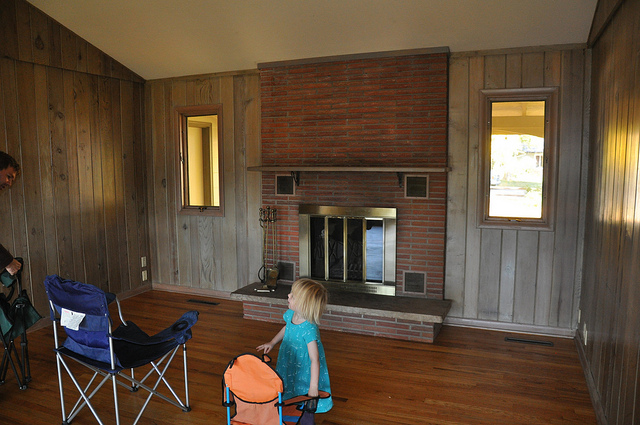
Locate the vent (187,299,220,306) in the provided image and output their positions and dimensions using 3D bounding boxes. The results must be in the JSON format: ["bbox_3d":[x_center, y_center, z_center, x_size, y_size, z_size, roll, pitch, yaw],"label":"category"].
[{"bbox_3d":[-1.550,1.210,6.179,0.455,0.043,0.136,2,0,22],"label":"vent"}]

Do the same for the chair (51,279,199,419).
[{"bbox_3d":[-1.790,1.292,4.191,1.165,1.106,0.744,3,6,28],"label":"chair"}]

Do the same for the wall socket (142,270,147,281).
[{"bbox_3d":[-2.501,0.900,6.581,0.007,0.094,0.080,3,1,27],"label":"wall socket"}]

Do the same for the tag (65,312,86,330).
[{"bbox_3d":[-1.892,0.842,3.575,0.155,0.110,0.013,6,3,23],"label":"tag"}]

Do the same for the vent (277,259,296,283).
[{"bbox_3d":[-0.403,0.733,5.706,0.293,0.273,0.029,2,3,19],"label":"vent"}]

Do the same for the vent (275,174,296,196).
[{"bbox_3d":[-0.412,-0.350,5.679,0.287,0.268,0.028,1,4,16],"label":"vent"}]

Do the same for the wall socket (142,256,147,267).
[{"bbox_3d":[-2.497,0.701,6.567,0.008,0.099,0.079,3,1,29],"label":"wall socket"}]

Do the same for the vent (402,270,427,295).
[{"bbox_3d":[1.094,0.810,5.297,0.294,0.281,0.028,4,-24,3],"label":"vent"}]

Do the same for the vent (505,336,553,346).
[{"bbox_3d":[2.272,1.407,4.998,0.482,0.033,0.087,2,0,13],"label":"vent"}]
